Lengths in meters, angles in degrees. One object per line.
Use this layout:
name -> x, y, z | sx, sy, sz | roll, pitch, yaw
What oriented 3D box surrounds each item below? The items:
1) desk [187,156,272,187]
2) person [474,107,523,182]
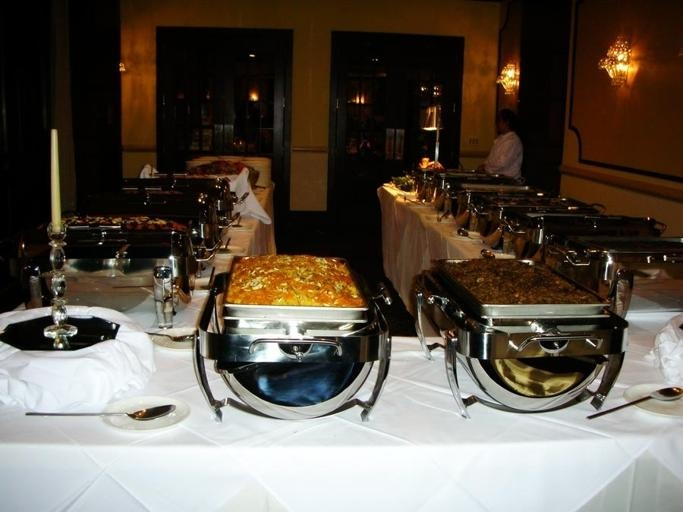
desk -> -1.322, -1.030, 6.165 | 0.837, 0.319, 2.056 | -3, 13, -11
person -> 1.954, -1.359, 6.176 | 0.441, 0.798, 0.365 | 7, 15, 26
